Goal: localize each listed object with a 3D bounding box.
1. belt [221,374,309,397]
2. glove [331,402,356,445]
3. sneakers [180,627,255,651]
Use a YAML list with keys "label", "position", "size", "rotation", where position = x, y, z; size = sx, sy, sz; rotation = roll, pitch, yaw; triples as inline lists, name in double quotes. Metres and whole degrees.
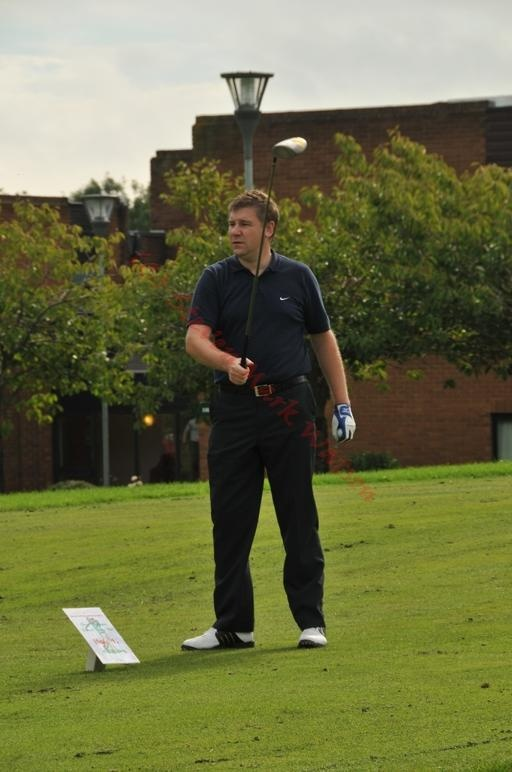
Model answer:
- label: "belt"
  position: [0.030, 0.003, 8.298]
  size: [0.388, 0.097, 0.129]
  rotation: [-2, -2, -2]
- label: "glove"
  position: [0.404, 0.172, 8.413]
  size: [0.093, 0.186, 0.070]
  rotation: [-2, -5, -12]
- label: "sneakers"
  position: [-0.169, 1.143, 8.282]
  size: [0.311, 0.142, 0.126]
  rotation: [3, -7, -6]
